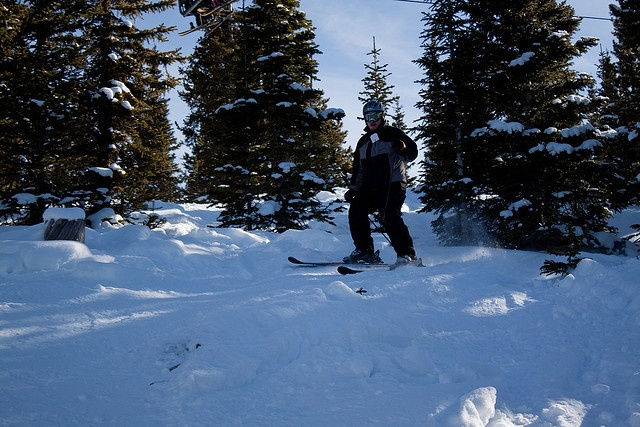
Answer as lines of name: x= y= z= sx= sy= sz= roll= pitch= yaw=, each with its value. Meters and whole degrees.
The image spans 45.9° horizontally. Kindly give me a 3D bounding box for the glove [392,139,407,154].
glove: x=2.167 y=-1.765 z=19.964 sx=0.091 sy=0.285 sz=0.345 roll=-1 pitch=-1 yaw=-18
